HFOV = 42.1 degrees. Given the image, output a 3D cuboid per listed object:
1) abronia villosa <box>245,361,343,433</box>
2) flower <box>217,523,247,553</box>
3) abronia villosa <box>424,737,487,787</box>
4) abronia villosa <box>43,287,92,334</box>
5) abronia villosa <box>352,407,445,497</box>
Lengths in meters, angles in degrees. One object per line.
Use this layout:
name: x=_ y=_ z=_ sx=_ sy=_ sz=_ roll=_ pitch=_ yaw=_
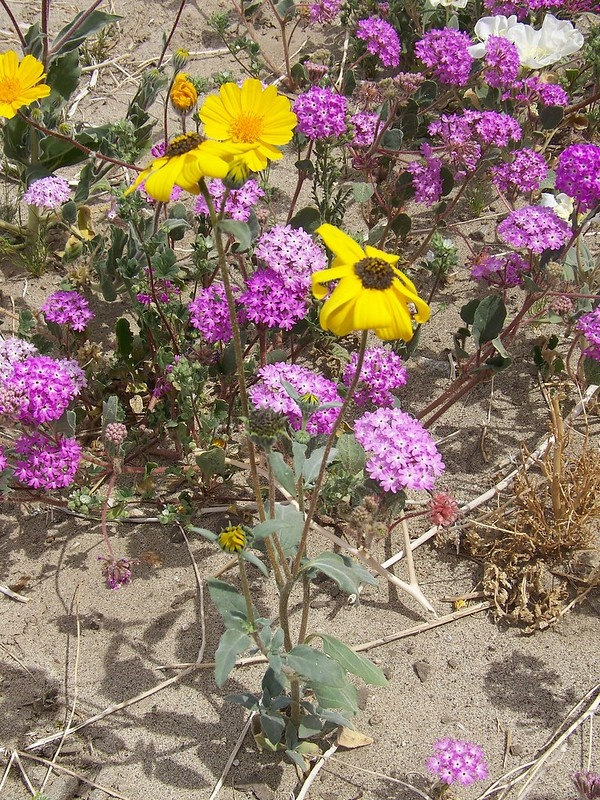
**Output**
abronia villosa: x=-0.006 y=-0.039 z=2.957 sx=0.318 sy=0.120 sz=0.302 roll=33 pitch=35 yaw=10
flower: x=-0.158 y=0.336 z=1.916 sx=0.068 sy=0.066 sz=0.061 roll=-5 pitch=47 yaw=10
abronia villosa: x=0.493 y=1.139 z=2.449 sx=0.181 sy=0.100 sz=0.148 roll=3 pitch=35 yaw=4
abronia villosa: x=-1.067 y=-0.389 z=3.582 sx=0.238 sy=0.102 sz=0.211 roll=7 pitch=60 yaw=-11
abronia villosa: x=0.371 y=0.188 z=2.899 sx=0.337 sy=0.122 sz=0.337 roll=40 pitch=49 yaw=9
